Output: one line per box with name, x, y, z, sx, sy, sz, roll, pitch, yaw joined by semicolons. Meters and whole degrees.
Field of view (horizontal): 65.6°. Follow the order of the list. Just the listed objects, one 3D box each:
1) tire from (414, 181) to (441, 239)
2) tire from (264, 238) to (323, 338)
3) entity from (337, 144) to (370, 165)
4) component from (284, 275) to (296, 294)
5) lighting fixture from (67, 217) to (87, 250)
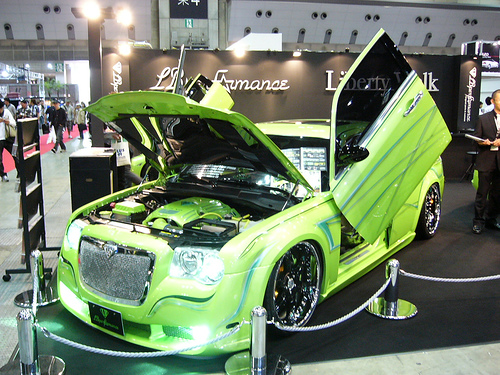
tire;2.411;0.289;5.320;0.208;0.673;0.628;5;17;31
tire;0.375;0.891;3.378;0.183;0.820;0.802;10;17;36
entity;0.924;-0.294;3.511;0.281;0.169;0.141;-3;14;-12
component;0.347;0.836;3.362;0.031;0.139;0.135;2;-2;30
lighting fixture;-1.627;0.434;3.622;0.180;0.280;0.068;8;-12;35
